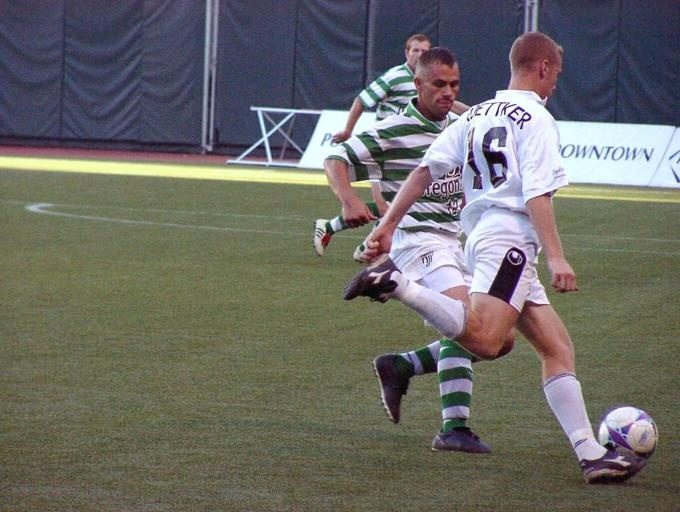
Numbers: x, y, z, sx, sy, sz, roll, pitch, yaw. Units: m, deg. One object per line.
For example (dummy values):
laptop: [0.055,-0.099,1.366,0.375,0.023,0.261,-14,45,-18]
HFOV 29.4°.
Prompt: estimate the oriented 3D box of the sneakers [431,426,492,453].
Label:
sneakers: [0.778,1.194,8.362,0.402,0.158,0.146,1,-4,5]

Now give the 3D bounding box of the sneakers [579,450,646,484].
sneakers: [1.671,1.289,8.057,0.476,0.150,0.219,-5,4,-2]

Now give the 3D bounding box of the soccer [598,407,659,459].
soccer: [1.816,1.155,8.212,0.381,0.350,0.363,-8,-3,-4]

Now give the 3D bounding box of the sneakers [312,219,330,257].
sneakers: [-0.192,-0.180,12.144,0.188,0.345,0.134,2,4,22]

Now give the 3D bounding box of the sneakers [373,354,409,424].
sneakers: [0.363,0.904,8.622,0.266,0.483,0.175,-9,-10,5]

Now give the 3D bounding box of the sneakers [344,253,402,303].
sneakers: [0.218,0.164,7.940,0.388,0.172,0.174,-36,44,-15]
